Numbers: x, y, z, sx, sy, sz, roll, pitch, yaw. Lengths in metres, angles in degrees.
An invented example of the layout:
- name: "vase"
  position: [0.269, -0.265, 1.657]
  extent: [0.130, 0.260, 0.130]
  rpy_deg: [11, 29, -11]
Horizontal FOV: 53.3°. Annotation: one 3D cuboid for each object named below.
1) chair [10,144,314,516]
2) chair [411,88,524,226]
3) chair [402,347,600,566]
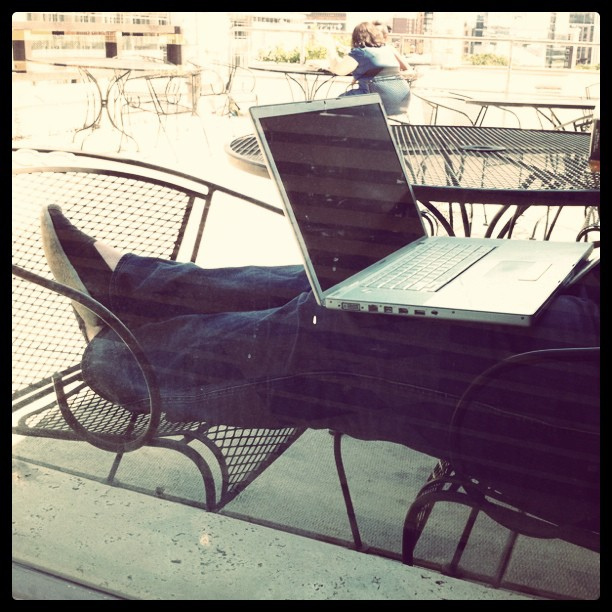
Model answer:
- name: "chair"
  position: [-0.255, 0.046, 1.287]
  extent: [0.814, 0.322, 0.541]
  rpy_deg: [14, 38, -3]
- name: "chair"
  position: [0.556, -0.626, 2.501]
  extent: [0.546, 0.613, 0.473]
  rpy_deg: [8, 26, 17]
- name: "chair"
  position: [0.244, 0.181, 0.752]
  extent: [0.238, 0.322, 0.164]
  rpy_deg: [0, 52, 32]
